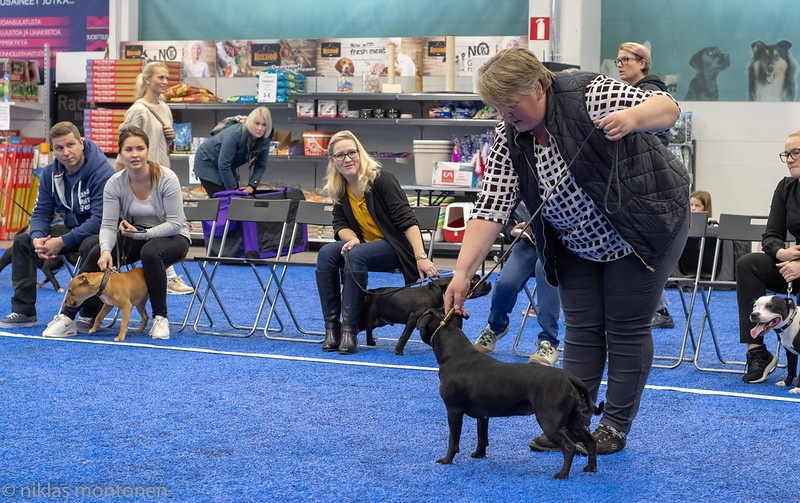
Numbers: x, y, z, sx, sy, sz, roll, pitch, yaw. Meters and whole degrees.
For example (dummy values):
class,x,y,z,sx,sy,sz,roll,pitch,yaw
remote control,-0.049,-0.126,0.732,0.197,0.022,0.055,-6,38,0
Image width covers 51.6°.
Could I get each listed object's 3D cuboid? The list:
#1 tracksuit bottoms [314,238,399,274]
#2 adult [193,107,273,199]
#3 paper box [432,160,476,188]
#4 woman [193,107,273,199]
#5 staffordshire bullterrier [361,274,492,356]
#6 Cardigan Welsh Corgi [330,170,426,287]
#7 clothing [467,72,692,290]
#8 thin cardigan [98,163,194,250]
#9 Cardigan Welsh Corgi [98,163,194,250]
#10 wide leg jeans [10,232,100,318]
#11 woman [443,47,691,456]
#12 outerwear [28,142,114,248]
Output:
class,x,y,z,sx,sy,sz,roll,pitch,yaw
tracksuit bottoms,-0.339,0.043,6.803,0.694,0.282,0.323,1,13,1
adult,-1.982,-1.189,9.858,0.973,1.071,0.776,2,13,6
paper box,0.726,-0.994,10.805,0.607,0.306,0.380,3,-11,10
woman,-1.988,-1.186,9.844,0.964,1.071,0.762,1,13,3
staffordshire bullterrier,0.122,0.492,6.540,1.169,0.638,0.431,3,-6,29
Cardigan Welsh Corgi,-0.220,-0.264,7.047,0.805,0.960,0.535,-1,16,23
clothing,1.152,-0.448,5.028,1.229,1.072,0.926,1,-2,-30
thin cardigan,-2.233,-0.406,7.278,0.751,0.707,0.804,-1,8,-15
Cardigan Welsh Corgi,-2.238,-0.406,7.282,0.819,0.703,0.787,-3,8,-27
wide leg jeans,-3.084,0.218,7.790,0.779,1.040,0.803,-2,3,0
woman,0.956,0.023,4.694,1.403,2.236,1.366,0,-6,11
outerwear,-2.937,-0.506,7.477,0.763,0.859,0.721,-11,24,-43
